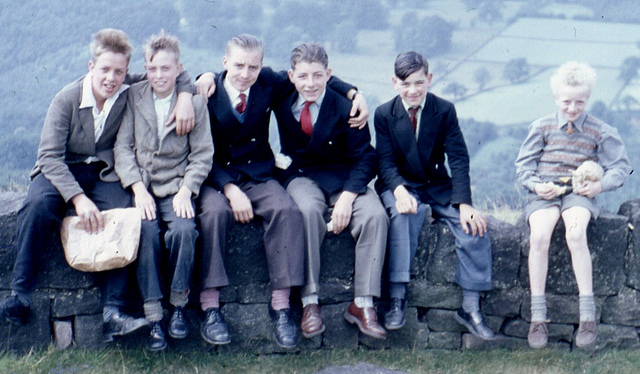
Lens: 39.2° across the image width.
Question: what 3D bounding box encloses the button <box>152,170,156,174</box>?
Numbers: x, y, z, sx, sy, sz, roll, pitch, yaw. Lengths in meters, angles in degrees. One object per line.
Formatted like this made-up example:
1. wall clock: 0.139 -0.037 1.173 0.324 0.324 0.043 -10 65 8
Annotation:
1. button: -1.497 -0.135 8.035 0.045 0.036 0.010 7 3 9

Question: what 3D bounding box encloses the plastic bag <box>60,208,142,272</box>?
1. plastic bag: -1.899 0.471 7.910 0.626 0.523 0.214 -3 -4 4

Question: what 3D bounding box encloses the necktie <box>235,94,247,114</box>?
1. necktie: -0.730 -0.762 8.231 0.106 0.171 0.024 -2 7 -6

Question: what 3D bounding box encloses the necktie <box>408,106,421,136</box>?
1. necktie: 0.881 -0.624 8.376 0.085 0.232 0.033 -2 7 -6

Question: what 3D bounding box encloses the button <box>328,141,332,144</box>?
1. button: 0.090 -0.416 8.402 0.028 0.024 0.006 7 1 -11

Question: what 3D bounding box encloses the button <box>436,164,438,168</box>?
1. button: 1.103 -0.196 8.467 0.025 0.030 0.027 7 50 -11

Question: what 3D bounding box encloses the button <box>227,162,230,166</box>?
1. button: -0.851 -0.215 8.338 0.033 0.028 0.010 2 -4 -1

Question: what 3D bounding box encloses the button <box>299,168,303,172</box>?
1. button: -0.183 -0.161 8.475 0.039 0.034 0.008 1 -12 -2

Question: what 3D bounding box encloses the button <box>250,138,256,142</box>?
1. button: -0.630 -0.437 8.346 0.041 0.035 0.010 1 3 -17

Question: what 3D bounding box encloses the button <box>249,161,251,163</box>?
1. button: -0.661 -0.234 8.373 0.024 0.021 0.005 8 6 2

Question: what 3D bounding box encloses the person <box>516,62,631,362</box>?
1. person: 2.294 0.143 8.177 0.984 2.540 0.642 0 7 10

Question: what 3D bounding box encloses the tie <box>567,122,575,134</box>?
1. tie: 2.326 -0.551 8.322 0.044 0.088 0.065 -1 0 0

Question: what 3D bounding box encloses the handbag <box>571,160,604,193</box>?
1. handbag: 2.440 -0.101 8.289 0.185 0.325 0.195 37 17 -49
